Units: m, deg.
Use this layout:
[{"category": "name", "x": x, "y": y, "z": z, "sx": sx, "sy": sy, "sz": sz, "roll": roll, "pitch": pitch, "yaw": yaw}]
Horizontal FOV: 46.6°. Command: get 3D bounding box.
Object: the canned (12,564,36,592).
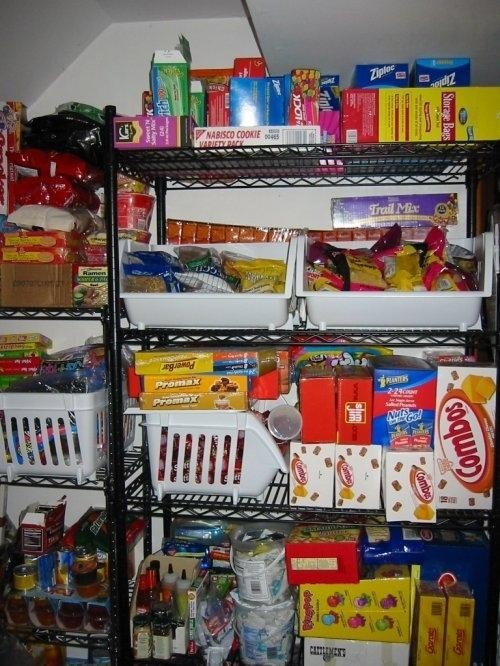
[{"category": "canned", "x": -0.649, "y": 0.712, "z": 1.673, "sx": 0.067, "sy": 0.060, "sz": 0.066, "roll": -1, "pitch": 6, "yaw": -40}]
